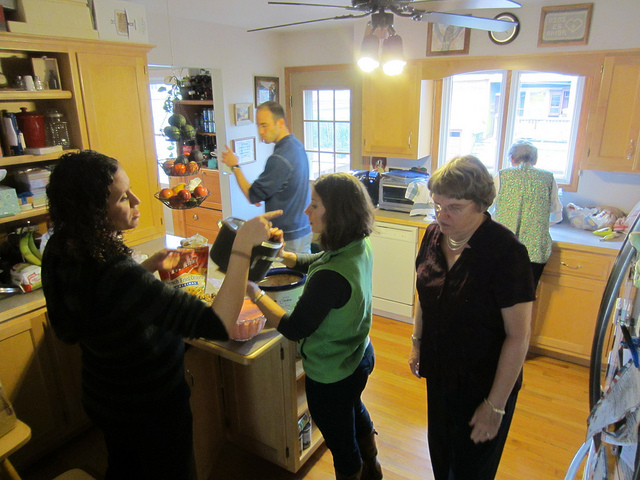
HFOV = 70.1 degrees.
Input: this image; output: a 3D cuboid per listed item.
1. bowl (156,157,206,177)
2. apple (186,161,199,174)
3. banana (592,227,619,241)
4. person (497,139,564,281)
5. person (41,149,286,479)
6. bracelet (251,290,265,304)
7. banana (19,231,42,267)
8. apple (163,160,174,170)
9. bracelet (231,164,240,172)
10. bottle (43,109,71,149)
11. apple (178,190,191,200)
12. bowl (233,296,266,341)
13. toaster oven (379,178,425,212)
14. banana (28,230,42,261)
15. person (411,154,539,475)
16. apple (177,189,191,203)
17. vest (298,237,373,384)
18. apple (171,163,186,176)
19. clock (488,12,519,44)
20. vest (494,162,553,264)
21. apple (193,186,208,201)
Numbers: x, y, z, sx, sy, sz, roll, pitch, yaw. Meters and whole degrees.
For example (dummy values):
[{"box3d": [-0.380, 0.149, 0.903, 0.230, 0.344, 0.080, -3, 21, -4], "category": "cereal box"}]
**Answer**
[{"box3d": [-0.714, -0.387, 2.432, 0.170, 0.058, 0.171, 0, 7, 0], "category": "bowl"}, {"box3d": [-0.674, -0.377, 2.391, 0.054, 0.065, 0.055, 9, 22, 29], "category": "apple"}, {"box3d": [2.158, -0.043, 3.442, 0.113, 0.031, 0.112, -15, 23, 4], "category": "banana"}, {"box3d": [1.636, -0.105, 3.648, 0.527, 1.335, 0.396, 6, 28, 28], "category": "person"}, {"box3d": [-0.625, 0.334, 1.718, 0.704, 1.292, 0.344, 4, 17, 12], "category": "person"}, {"box3d": [-0.261, 0.239, 1.929, 0.051, 0.014, 0.048, -38, 13, 37], "category": "bracelet"}, {"box3d": [-1.792, 0.065, 2.809, 0.095, 0.170, 0.125, -41, 7, -20], "category": "banana"}, {"box3d": [-0.796, -0.391, 2.392, 0.044, 0.025, 0.045, -17, 29, -35], "category": "apple"}, {"box3d": [-0.592, -0.500, 3.185, 0.048, 0.032, 0.043, -4, -5, 0], "category": "bracelet"}, {"box3d": [-1.762, -0.732, 3.030, 0.093, 0.244, 0.207, 10, 19, 30], "category": "bottle"}, {"box3d": [-0.679, -0.223, 2.287, 0.046, 0.027, 0.046, 11, 13, 8], "category": "apple"}, {"box3d": [-0.321, 0.353, 2.072, 0.194, 0.146, 0.195, 0, -7, 0], "category": "bowl"}, {"box3d": [0.689, -0.363, 4.105, 0.334, 0.283, 0.188, 4, -10, 1], "category": "toaster oven"}, {"box3d": [-1.783, 0.045, 2.846, 0.060, 0.163, 0.120, -24, 9, -21], "category": "banana"}, {"box3d": [0.630, 0.377, 2.010, 0.539, 1.448, 0.358, 10, 19, 31], "category": "person"}, {"box3d": [-0.686, -0.217, 2.300, 0.067, 0.062, 0.031, 0, 16, 0], "category": "apple"}, {"box3d": [0.073, 0.319, 2.013, 0.322, 0.647, 0.221, -1, 16, -5], "category": "vest"}, {"box3d": [-0.732, -0.361, 2.369, 0.055, 0.055, 0.055, 2, 12, 14], "category": "apple"}, {"box3d": [1.411, -1.645, 3.524, 0.229, 0.222, 0.311, 7, 17, 23], "category": "clock"}, {"box3d": [1.531, -0.199, 3.405, 0.437, 0.719, 0.273, 8, 18, 26], "category": "vest"}, {"box3d": [-0.631, -0.245, 2.370, 0.065, 0.066, 0.065, 14, 26, 10], "category": "apple"}]
